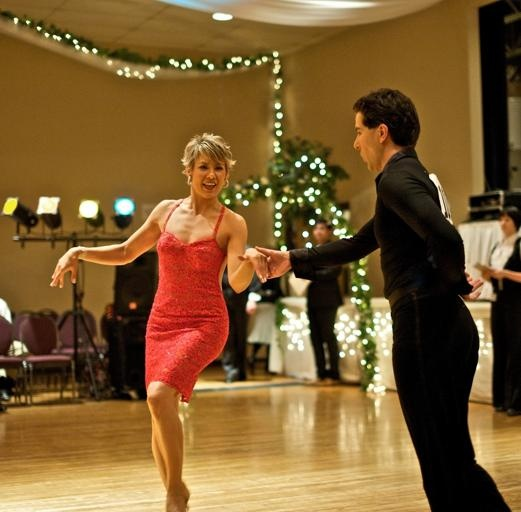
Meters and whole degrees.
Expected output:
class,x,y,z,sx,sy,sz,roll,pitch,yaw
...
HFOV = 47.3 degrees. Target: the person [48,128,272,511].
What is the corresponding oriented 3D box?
class,x,y,z,sx,sy,sz,roll,pitch,yaw
person,-0.292,0.218,2.405,0.464,1.476,0.505,1,-6,-14
